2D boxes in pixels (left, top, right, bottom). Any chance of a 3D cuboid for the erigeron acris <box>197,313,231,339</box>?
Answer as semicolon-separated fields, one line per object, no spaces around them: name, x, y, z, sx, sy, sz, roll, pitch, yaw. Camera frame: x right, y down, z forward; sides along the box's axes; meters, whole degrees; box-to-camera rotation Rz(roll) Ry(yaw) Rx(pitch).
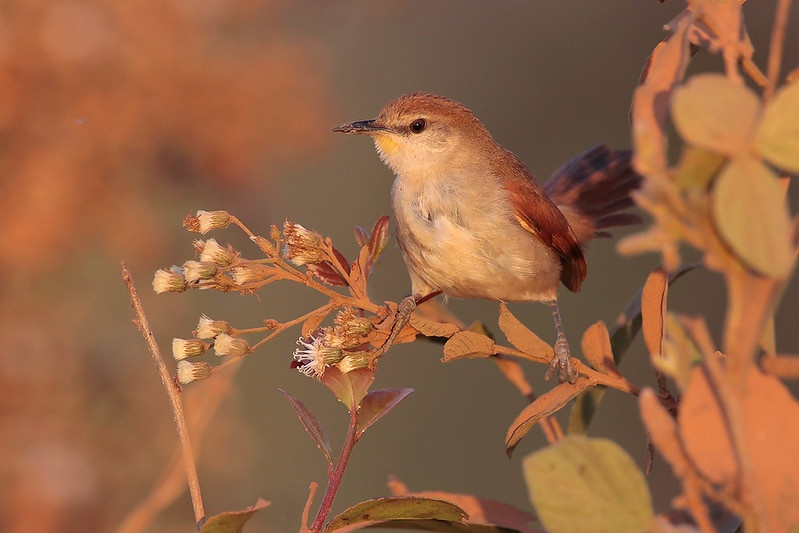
erigeron acris;-0.556;0.185;3.343;0.093;0.061;0.049;4;-2;-5

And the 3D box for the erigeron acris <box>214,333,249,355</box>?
erigeron acris;-0.500;0.230;3.336;0.082;0.065;0.045;4;-14;-15

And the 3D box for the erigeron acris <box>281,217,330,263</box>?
erigeron acris;-0.286;-0.084;3.419;0.120;0.125;0.117;-8;8;-11

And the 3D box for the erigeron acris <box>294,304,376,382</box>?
erigeron acris;-0.205;0.238;3.374;0.300;0.187;0.183;-16;-10;11

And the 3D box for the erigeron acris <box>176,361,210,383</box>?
erigeron acris;-0.607;0.306;3.267;0.083;0.061;0.034;-1;-22;-18

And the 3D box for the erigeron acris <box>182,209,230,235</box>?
erigeron acris;-0.579;-0.134;3.346;0.116;0.076;0.062;-11;-34;4

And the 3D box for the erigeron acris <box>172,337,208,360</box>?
erigeron acris;-0.628;0.240;3.292;0.111;0.058;0.088;-20;-12;32
